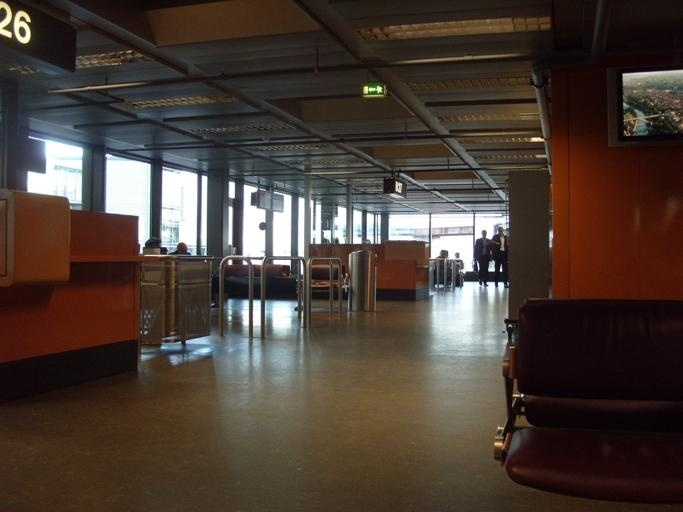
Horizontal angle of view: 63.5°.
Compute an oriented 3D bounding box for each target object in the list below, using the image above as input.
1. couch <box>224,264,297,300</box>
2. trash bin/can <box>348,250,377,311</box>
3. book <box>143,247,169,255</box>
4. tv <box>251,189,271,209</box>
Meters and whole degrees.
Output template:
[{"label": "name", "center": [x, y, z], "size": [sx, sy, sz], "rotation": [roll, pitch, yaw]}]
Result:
[{"label": "couch", "center": [-2.126, 0.674, 14.458], "size": [1.794, 0.892, 0.895], "rotation": [0, 1, -14]}, {"label": "trash bin/can", "center": [0.416, 0.485, 10.988], "size": [0.524, 1.179, 0.631], "rotation": [1, 1, 0]}, {"label": "book", "center": [-2.968, -0.075, 8.615], "size": [0.257, 0.106, 0.289], "rotation": [0, -2, 4]}, {"label": "tv", "center": [-2.624, -1.803, 17.930], "size": [0.487, 0.731, 0.996], "rotation": [0, -1, 13]}]
